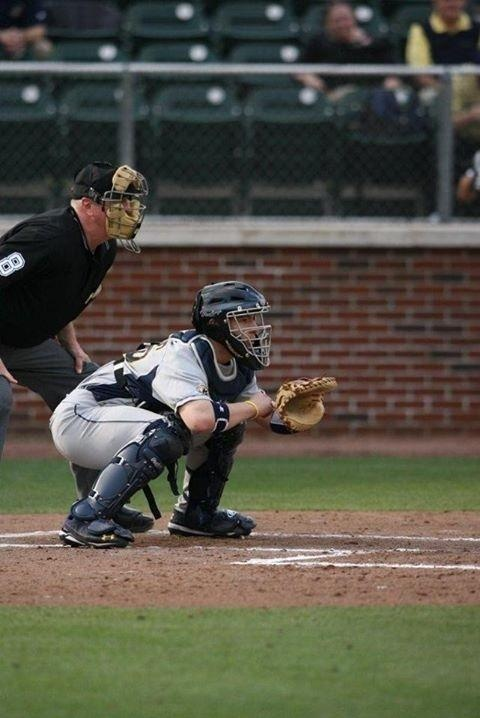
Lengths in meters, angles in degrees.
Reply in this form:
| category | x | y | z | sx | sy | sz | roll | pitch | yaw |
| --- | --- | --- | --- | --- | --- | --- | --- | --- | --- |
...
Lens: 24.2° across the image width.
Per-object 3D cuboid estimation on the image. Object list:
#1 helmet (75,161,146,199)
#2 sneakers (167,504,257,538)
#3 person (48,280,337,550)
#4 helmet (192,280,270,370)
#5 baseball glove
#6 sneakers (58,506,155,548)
| category | x | y | z | sx | sy | sz | roll | pitch | yaw |
| --- | --- | --- | --- | --- | --- | --- | --- | --- | --- |
| helmet | -0.474 | -0.633 | 3.988 | 0.210 | 0.084 | 0.136 | -2 | 6 | 3 |
| sneakers | -0.109 | 0.602 | 4.180 | 0.334 | 0.143 | 0.117 | 1 | 1 | -5 |
| person | -0.184 | 0.191 | 4.017 | 0.995 | 0.846 | 0.747 | 1 | -4 | -17 |
| helmet | -0.037 | -0.111 | 3.849 | 0.271 | 0.301 | 0.252 | 3 | 2 | -2 |
| baseball glove | 0.228 | 0.132 | 3.909 | 0.247 | 0.113 | 0.159 | -30 | -42 | 34 |
| sneakers | -0.435 | 0.608 | 4.036 | 0.397 | 0.154 | 0.130 | -4 | 13 | 5 |
